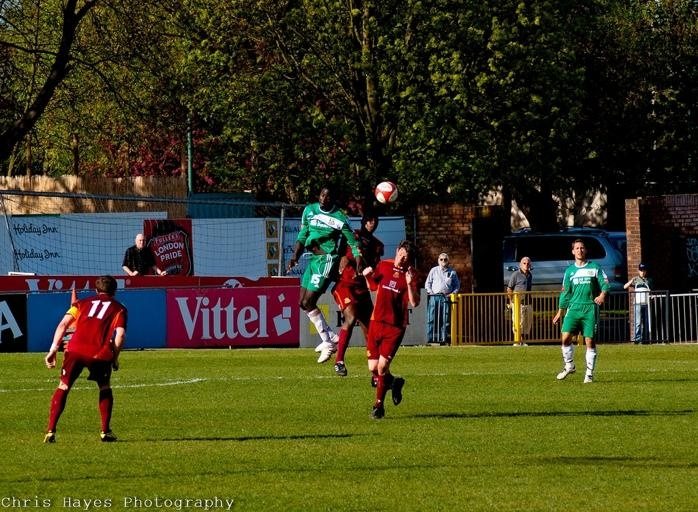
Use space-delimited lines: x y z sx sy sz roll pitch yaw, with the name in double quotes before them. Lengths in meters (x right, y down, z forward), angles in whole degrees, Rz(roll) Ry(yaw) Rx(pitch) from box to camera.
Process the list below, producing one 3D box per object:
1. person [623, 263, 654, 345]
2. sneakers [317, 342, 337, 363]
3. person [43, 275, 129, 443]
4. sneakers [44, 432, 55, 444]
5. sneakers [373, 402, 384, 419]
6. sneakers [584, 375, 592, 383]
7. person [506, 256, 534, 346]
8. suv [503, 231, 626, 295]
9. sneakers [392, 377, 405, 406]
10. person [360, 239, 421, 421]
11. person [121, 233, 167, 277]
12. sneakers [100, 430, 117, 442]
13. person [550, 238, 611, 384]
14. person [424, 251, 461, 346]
"person" 7.488 1.277 36.322 0.598 1.951 1.131 2 10 11
"sneakers" -0.499 2.048 29.300 0.276 0.240 0.640 -2 -30 -17
"person" -4.236 1.735 22.683 1.251 2.603 0.672 -2 10 -11
"sneakers" -4.828 2.947 22.617 0.192 0.196 0.159 -5 11 -29
"sneakers" 0.466 2.686 24.206 0.214 0.300 0.155 -1 10 -8
"sneakers" 4.677 2.459 27.660 0.133 0.156 0.140 0 -5 -7
"person" 4.313 1.219 35.828 0.643 2.094 1.248 2 10 7
"suv" 6.685 -0.031 43.704 3.255 1.891 2.050 1 -2 12
"sneakers" 0.857 2.389 24.590 0.184 0.568 0.234 3 -4 -25
"person" 0.734 1.281 24.625 0.869 3.045 1.595 1 10 1
"person" -5.066 0.200 34.222 0.861 1.389 0.751 -5 18 -28
"sneakers" -3.895 2.944 22.670 0.108 0.142 0.315 3 -1 21
"person" 4.599 1.178 28.072 0.994 2.893 1.603 2 10 9
"person" 2.282 1.159 35.027 0.775 2.119 1.200 1 10 5
